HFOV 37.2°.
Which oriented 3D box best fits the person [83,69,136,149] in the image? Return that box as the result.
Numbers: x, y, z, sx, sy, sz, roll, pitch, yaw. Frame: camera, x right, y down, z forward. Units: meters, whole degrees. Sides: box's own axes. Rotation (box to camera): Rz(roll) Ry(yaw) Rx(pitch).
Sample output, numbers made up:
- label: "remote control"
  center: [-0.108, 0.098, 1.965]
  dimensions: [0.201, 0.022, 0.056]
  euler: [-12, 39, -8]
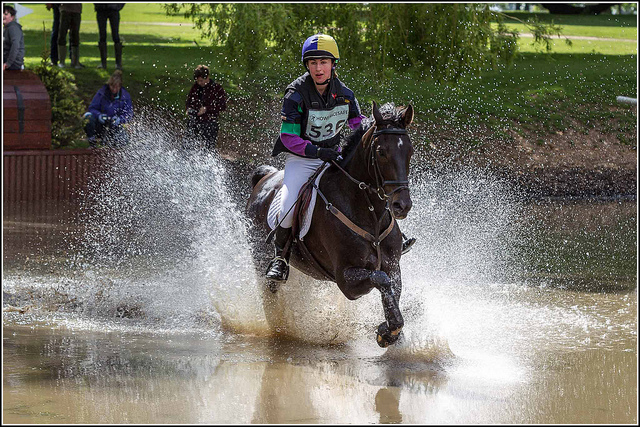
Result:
- label: "person"
  center: [-4.412, -2.144, 19.650]
  dimensions: [0.968, 1.857, 0.888]
  euler: [-7, 27, -23]

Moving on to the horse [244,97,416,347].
- label: "horse"
  center: [0.245, 0.224, 14.528]
  dimensions: [3.173, 4.157, 1.027]
  euler: [25, 32, 36]

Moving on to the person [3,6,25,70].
- label: "person"
  center: [-6.197, -3.511, 19.099]
  dimensions: [0.413, 1.325, 0.750]
  euler: [-5, 27, -19]

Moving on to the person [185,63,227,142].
- label: "person"
  center: [-2.374, -2.254, 19.489]
  dimensions: [0.739, 1.856, 0.831]
  euler: [-7, 27, -24]
